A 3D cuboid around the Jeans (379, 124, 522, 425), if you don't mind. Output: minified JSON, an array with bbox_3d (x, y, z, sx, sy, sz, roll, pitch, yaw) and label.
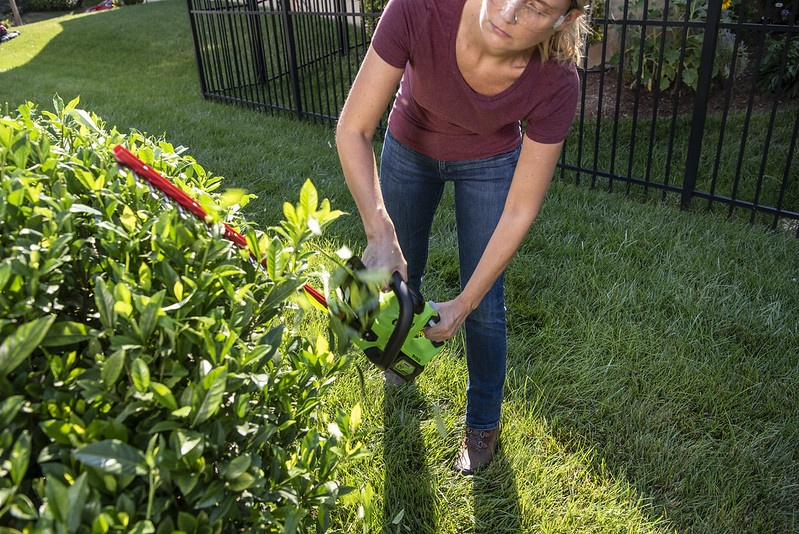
[{"bbox_3d":[0.256,0.026,3.432,0.683,1.875,0.478,16,39,22],"label":"Jeans"}]

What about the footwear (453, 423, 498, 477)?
[{"bbox_3d":[0.379,0.870,3.171,0.116,0.263,0.376,7,7,23],"label":"footwear"}]
